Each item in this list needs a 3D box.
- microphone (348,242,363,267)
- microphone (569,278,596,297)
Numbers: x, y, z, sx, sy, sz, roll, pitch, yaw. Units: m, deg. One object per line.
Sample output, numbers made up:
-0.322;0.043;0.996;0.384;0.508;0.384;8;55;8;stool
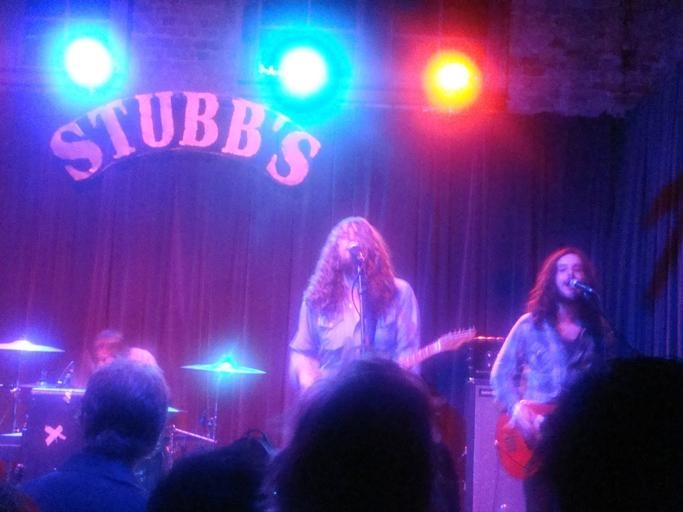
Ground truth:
0.095;-0.007;4.919;0.078;0.158;0.070;-9;-4;-17;microphone
1.806;0.239;5.516;0.085;0.131;0.383;-5;6;-9;microphone
